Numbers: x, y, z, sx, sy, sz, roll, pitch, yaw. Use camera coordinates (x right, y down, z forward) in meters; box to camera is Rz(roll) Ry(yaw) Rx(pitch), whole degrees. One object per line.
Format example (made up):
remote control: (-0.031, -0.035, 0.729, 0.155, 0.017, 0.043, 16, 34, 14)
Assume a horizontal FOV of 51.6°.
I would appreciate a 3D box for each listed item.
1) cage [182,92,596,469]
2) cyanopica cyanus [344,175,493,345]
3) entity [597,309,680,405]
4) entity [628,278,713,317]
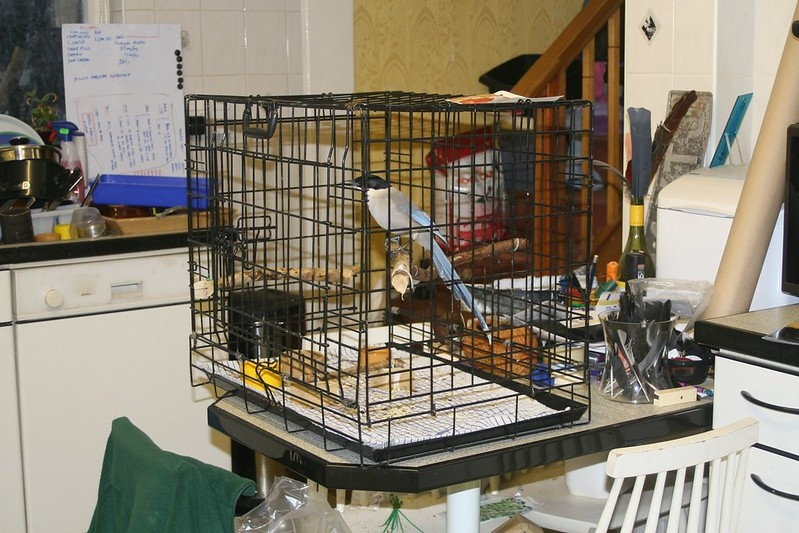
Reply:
cage: (0.085, -0.060, 2.595, 1.013, 0.889, 0.759, -9, 15, -42)
cyanopica cyanus: (0.050, -0.039, 2.152, 0.358, 0.439, 0.266, -3, 14, -5)
entity: (0.720, 0.244, 2.543, 0.238, 0.262, 0.241, -9, 19, -12)
entity: (0.858, 0.087, 2.594, 0.168, 0.081, 0.155, 1, -2, -25)
